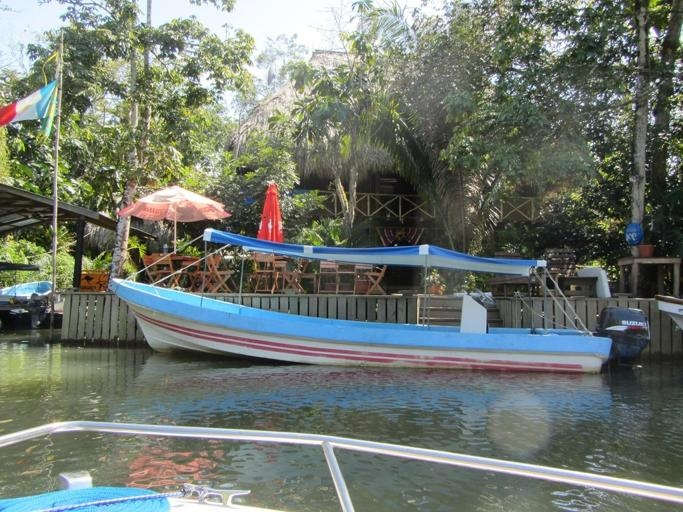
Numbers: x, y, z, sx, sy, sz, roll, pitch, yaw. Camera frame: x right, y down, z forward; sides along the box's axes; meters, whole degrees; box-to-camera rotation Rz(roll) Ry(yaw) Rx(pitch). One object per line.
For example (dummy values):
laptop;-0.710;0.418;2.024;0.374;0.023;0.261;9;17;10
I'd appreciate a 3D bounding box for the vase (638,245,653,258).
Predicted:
vase;7.762;-0.146;14.525;0.358;0.266;0.355;1;-9;-12

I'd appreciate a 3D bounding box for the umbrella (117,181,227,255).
umbrella;-4.679;-1.179;15.953;2.184;1.536;2.283;2;1;3

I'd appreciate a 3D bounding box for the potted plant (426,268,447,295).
potted plant;2.913;0.769;17.285;0.658;0.898;0.650;1;-19;-3

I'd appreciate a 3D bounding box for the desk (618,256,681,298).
desk;8.013;0.367;14.665;1.312;1.225;1.329;0;-7;8

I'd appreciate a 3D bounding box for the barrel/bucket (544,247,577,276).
barrel/bucket;5.611;0.151;14.437;0.737;0.735;0.462;-2;-13;1
